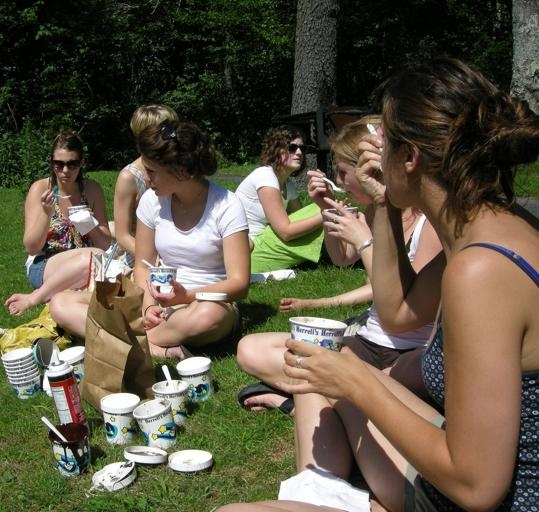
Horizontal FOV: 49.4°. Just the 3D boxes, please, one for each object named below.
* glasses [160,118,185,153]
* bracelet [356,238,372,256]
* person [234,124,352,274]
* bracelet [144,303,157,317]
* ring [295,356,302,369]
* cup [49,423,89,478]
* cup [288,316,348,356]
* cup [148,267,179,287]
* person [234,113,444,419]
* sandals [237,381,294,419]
[{"bbox_3d":[-0.606,-0.782,3.703,0.180,0.176,0.053,-23,5,-42],"label":"glasses"},{"bbox_3d":[0.471,-0.051,2.946,0.076,0.021,0.078,-39,-1,20],"label":"bracelet"},{"bbox_3d":[0.191,-0.488,6.376,1.230,1.746,0.903,6,19,23],"label":"person"},{"bbox_3d":[-0.810,0.353,3.928,0.068,0.056,0.076,-3,-30,-11],"label":"bracelet"},{"bbox_3d":[0.097,0.358,2.001,0.027,0.039,0.035,7,36,9],"label":"ring"},{"bbox_3d":[-0.948,0.928,2.789,0.184,0.199,0.192,2,6,0],"label":"cup"},{"bbox_3d":[0.201,0.307,2.418,0.162,0.116,0.163,7,2,0],"label":"cup"},{"bbox_3d":[-0.685,0.121,3.734,0.138,0.094,0.135,1,3,0],"label":"cup"},{"bbox_3d":[0.395,0.125,3.130,1.313,1.795,0.952,-3,18,-5],"label":"person"},{"bbox_3d":[-0.030,0.780,3.267,0.360,0.129,0.146,9,7,7],"label":"sandals"}]
